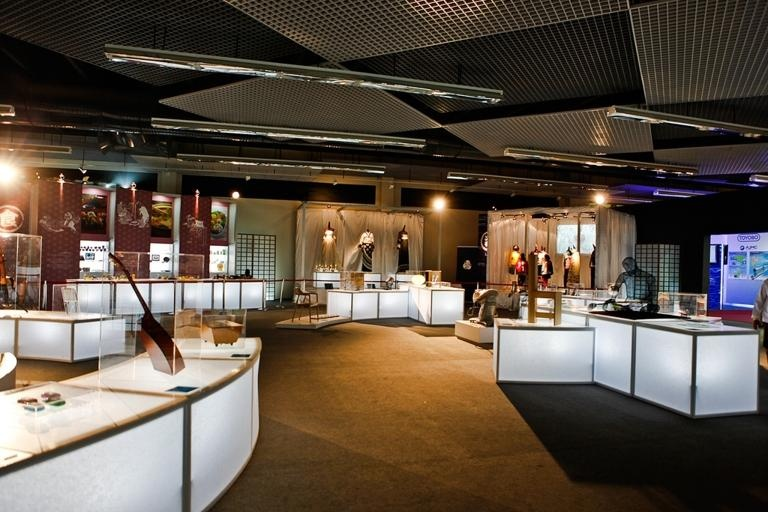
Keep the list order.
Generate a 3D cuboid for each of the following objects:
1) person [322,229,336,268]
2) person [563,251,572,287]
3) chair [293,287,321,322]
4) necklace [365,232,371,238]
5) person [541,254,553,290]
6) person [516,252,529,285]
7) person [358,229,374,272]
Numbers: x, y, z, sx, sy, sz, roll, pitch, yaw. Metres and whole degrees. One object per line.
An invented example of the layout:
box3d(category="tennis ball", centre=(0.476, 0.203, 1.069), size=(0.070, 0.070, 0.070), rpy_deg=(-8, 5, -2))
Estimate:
box3d(category="person", centre=(-2.017, -0.310, 18.709), size=(0.489, 1.341, 0.337), rpy_deg=(-1, 11, -8))
box3d(category="person", centre=(6.033, 0.329, 16.390), size=(0.237, 1.065, 0.581), rpy_deg=(4, 11, 16))
box3d(category="chair", centre=(-1.938, 1.166, 12.663), size=(0.583, 0.683, 0.635), rpy_deg=(1, -3, 20))
box3d(category="necklace", centre=(-0.531, -0.793, 19.060), size=(0.284, 0.238, 0.164), rpy_deg=(-4, 11, -27))
box3d(category="person", centre=(5.486, 0.447, 16.721), size=(0.338, 0.986, 0.926), rpy_deg=(5, 11, 22))
box3d(category="person", centre=(4.790, 0.425, 17.292), size=(0.361, 0.953, 0.560), rpy_deg=(2, 11, 7))
box3d(category="person", centre=(-0.596, -0.210, 19.207), size=(0.629, 1.525, 0.313), rpy_deg=(-8, 14, -37))
